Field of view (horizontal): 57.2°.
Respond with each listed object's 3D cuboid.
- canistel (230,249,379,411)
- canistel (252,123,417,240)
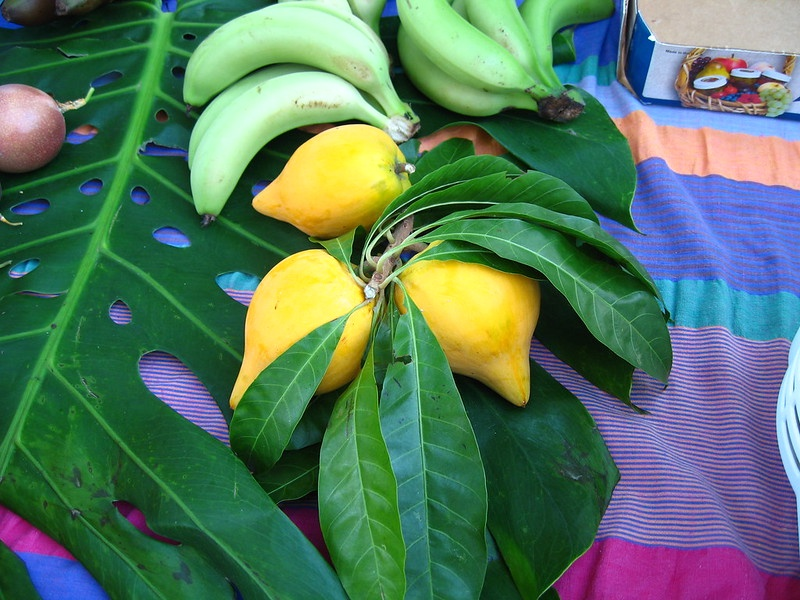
[{"bbox_3d":[-0.105,0.021,0.875,0.183,0.138,0.137,-43,74,5],"label":"canistel"},{"bbox_3d":[-0.088,-0.144,0.936,0.192,0.126,0.137,-15,20,-8],"label":"canistel"}]
